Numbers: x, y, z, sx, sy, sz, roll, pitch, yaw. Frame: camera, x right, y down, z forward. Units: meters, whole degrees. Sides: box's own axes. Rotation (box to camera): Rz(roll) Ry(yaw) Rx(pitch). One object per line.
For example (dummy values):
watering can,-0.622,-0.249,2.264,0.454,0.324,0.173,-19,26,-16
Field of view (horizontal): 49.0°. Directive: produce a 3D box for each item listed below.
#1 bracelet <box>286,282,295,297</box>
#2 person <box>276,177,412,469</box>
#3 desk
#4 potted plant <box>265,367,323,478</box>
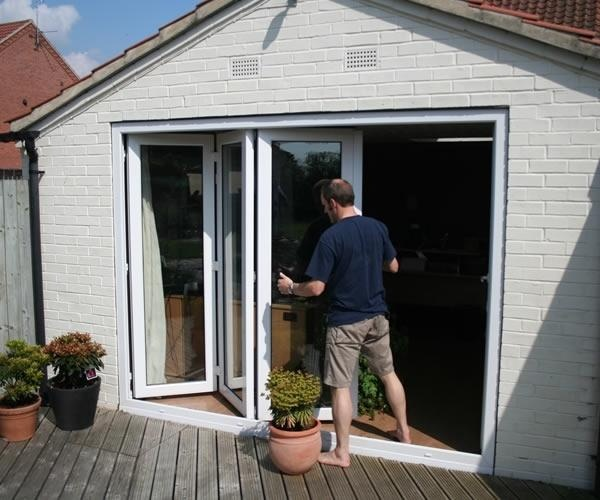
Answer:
bracelet,-0.077,0.327,5.386,0.056,0.090,0.092,-3,25,3
person,0.421,0.717,5.359,0.907,1.979,0.447,-4,12,-20
desk,-0.215,0.730,5.883,0.852,0.905,0.502,0,-2,14
potted plant,-0.035,1.368,5.274,0.408,0.744,0.387,1,-4,-39
